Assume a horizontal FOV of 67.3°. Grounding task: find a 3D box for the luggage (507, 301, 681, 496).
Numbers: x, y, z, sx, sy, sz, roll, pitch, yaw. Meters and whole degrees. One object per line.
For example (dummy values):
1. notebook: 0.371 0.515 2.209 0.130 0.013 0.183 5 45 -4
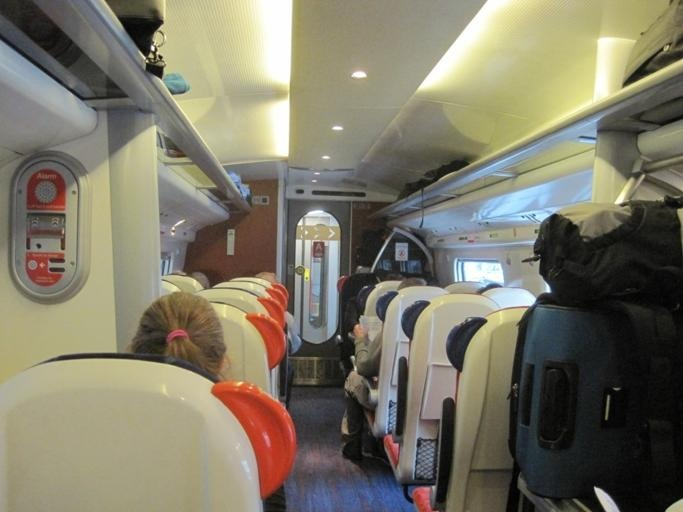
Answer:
1. luggage: 0.950 0.571 2.266 0.589 0.822 0.740 2 0 -2
